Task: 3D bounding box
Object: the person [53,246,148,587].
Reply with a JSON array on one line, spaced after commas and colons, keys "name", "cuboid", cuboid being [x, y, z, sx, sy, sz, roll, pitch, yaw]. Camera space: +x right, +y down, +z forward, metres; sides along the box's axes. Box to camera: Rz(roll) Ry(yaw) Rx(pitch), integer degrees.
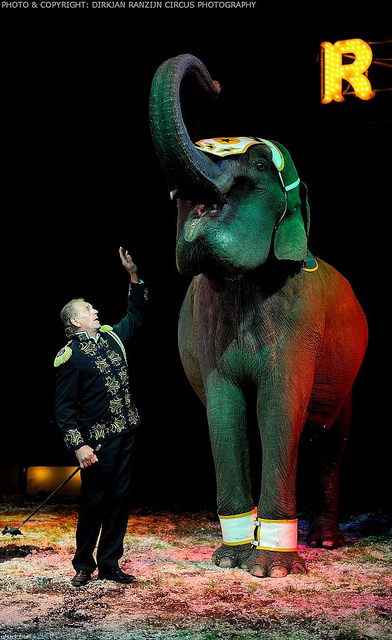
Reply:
[{"name": "person", "cuboid": [-0.376, 0.423, 2.655, 0.253, 1.019, 0.329, -5, -8, 43]}]
